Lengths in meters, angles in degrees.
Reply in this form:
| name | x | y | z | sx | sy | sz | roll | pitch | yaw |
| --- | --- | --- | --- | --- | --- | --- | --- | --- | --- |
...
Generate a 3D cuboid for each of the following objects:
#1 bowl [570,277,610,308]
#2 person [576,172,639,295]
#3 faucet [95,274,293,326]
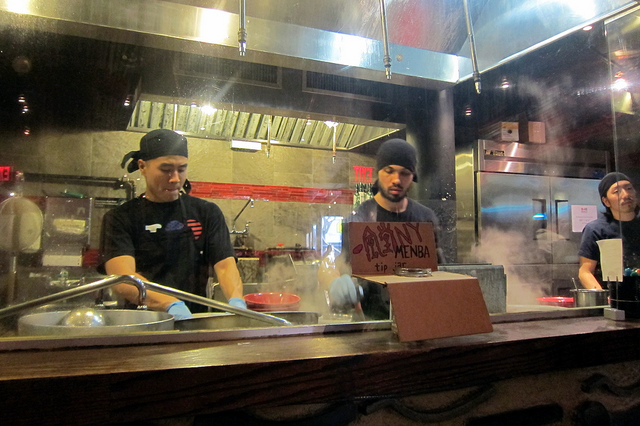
| name | x | y | z | sx | sy | sz | roll | pitch | yaw |
| --- | --- | --- | --- | --- | --- | --- | --- | --- | --- |
| bowl | 1.216 | 0.366 | 2.114 | 0.096 | 0.093 | 0.111 | 1 | -10 | -11 |
| person | 1.489 | 0.115 | 2.438 | 0.196 | 0.606 | 0.921 | 2 | 1 | 25 |
| faucet | -0.414 | 0.326 | 1.603 | 0.692 | 0.052 | 0.182 | 20 | 26 | -36 |
